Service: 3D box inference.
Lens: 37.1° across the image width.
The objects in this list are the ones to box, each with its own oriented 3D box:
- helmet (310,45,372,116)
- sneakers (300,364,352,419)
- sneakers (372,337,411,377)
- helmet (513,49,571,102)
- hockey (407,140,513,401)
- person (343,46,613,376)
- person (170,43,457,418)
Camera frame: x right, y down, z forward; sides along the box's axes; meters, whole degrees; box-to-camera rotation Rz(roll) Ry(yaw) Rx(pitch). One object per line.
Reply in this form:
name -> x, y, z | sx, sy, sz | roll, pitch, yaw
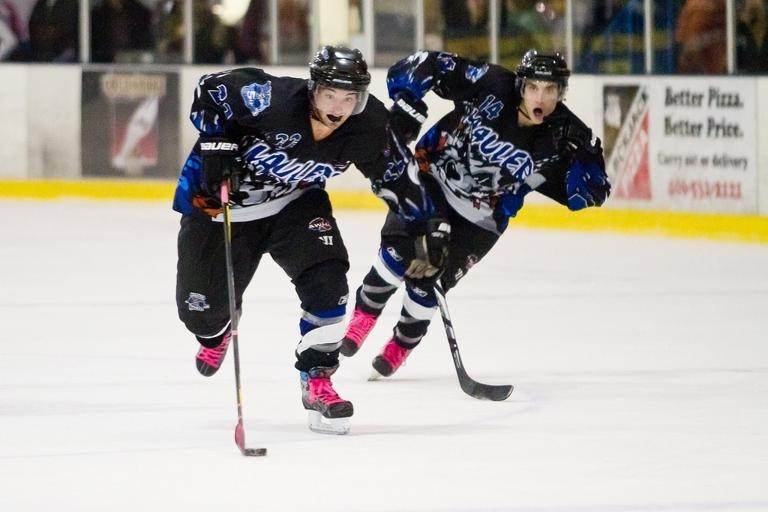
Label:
helmet -> -0.218, -0.838, 5.431 | 0.305, 0.302, 0.365 | 7, 14, -14
sneakers -> -0.281, 0.645, 5.504 | 0.146, 0.224, 0.373 | -6, 9, -34
sneakers -> 0.056, 0.531, 6.326 | 0.160, 0.171, 0.444 | 35, 5, 14
helmet -> 0.848, -0.941, 6.127 | 0.293, 0.267, 0.304 | 6, 6, 0
hockey -> 0.403, 0.084, 6.307 | 0.293, 0.203, 1.747 | 0, 50, -24
person -> 0.448, -0.246, 6.259 | 1.290, 1.852, 1.028 | 29, -3, 5
person -> -0.469, -0.114, 5.620 | 1.189, 1.804, 0.613 | 7, 13, 20
